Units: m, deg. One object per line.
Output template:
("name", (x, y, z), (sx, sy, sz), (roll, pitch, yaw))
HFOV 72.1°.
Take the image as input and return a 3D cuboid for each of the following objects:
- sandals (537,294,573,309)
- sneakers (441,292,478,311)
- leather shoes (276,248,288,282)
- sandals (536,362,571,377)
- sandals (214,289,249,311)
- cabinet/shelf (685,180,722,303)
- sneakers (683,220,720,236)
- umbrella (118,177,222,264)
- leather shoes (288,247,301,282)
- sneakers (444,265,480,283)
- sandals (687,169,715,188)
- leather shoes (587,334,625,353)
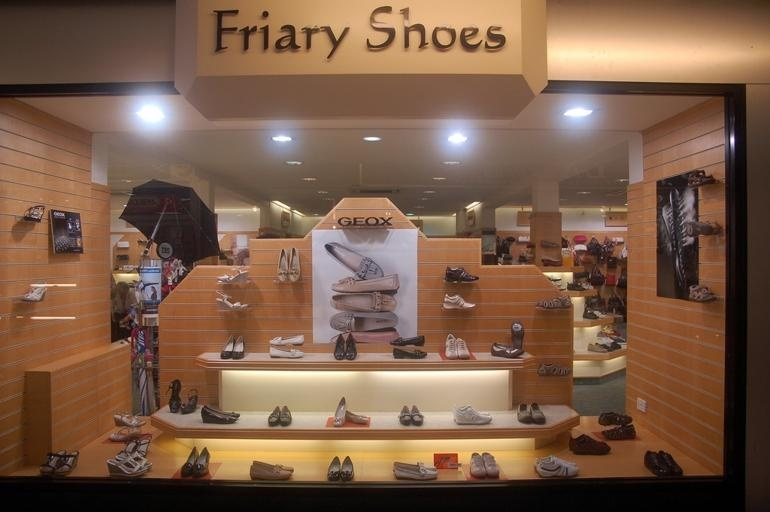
("sandals", (1.630, 0.445, 5.088), (0.308, 0.109, 0.115), (1, -3, 6))
("sneakers", (0.691, 0.442, 5.035), (0.343, 0.131, 0.123), (1, -3, -4))
("leather shoes", (-0.970, 0.095, 5.012), (0.109, 0.275, 0.106), (4, 11, 12))
("sandals", (1.611, 1.099, 5.118), (0.328, 0.112, 0.119), (0, -6, 3))
("sandals", (-1.471, 0.420, 5.072), (0.307, 0.142, 0.129), (-1, 1, -8))
("cabinet/shelf", (2.691, -0.183, 4.622), (0.299, 0.932, 0.363), (-1, 2, 24))
("sneakers", (2.712, -0.234, 4.546), (0.101, 0.074, 0.236), (-3, 9, -37))
("umbrella", (-2.159, -0.369, 5.127), (1.018, 0.369, 1.089), (6, -20, -31))
("leather shoes", (-0.860, 0.077, 5.004), (0.118, 0.291, 0.112), (1, 9, 2))
("sneakers", (0.750, 0.191, 5.104), (0.367, 0.145, 0.120), (1, -1, -4))
("sandals", (2.738, -0.674, 4.580), (0.184, 0.080, 0.237), (2, 5, 17))
("leather shoes", (2.040, 0.818, 4.906), (0.349, 0.126, 0.119), (-4, -4, 44))
